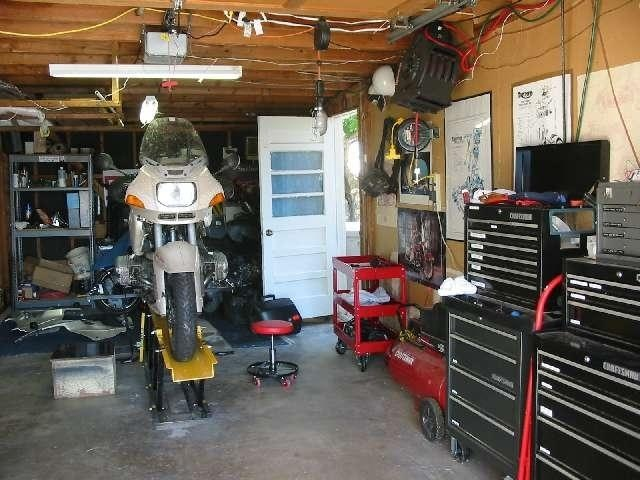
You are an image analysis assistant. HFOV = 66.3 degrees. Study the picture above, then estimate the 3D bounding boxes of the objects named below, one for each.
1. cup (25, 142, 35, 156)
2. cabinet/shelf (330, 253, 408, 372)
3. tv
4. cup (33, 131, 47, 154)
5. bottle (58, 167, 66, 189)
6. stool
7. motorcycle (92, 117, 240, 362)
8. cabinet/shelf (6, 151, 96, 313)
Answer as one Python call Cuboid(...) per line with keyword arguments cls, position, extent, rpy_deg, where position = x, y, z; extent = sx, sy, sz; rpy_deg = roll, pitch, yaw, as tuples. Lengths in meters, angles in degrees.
Cuboid(cls="cup", position=(-4.136, -1.305, 6.988), extent=(0.120, 0.173, 0.231), rpy_deg=(-5, 9, -30))
Cuboid(cls="cabinet/shelf", position=(0.516, 0.741, 4.922), extent=(0.532, 1.029, 1.016), rpy_deg=(-2, 6, -16))
Cuboid(cls="tv", position=(1.494, -0.448, 3.106), extent=(0.557, 0.284, 0.057), rpy_deg=(-5, 13, -8))
Cuboid(cls="cup", position=(-4.018, -1.395, 7.037), extent=(0.176, 0.316, 0.465), rpy_deg=(-5, 9, -29))
Cuboid(cls="bottle", position=(-3.752, -0.903, 7.138), extent=(0.111, 0.264, 0.479), rpy_deg=(-4, 9, -27))
Cuboid(cls="stool", position=(-0.453, 1.074, 4.666), extent=(0.536, 0.522, 0.539), rpy_deg=(-1, -2, 9))
Cuboid(cls="motorcycle", position=(-1.163, -0.064, 3.905), extent=(0.845, 1.851, 0.970), rpy_deg=(-4, 9, -25))
Cuboid(cls="cabinet/shelf", position=(-4.058, -0.197, 7.424), extent=(1.237, 2.150, 2.006), rpy_deg=(-4, 9, -25))
